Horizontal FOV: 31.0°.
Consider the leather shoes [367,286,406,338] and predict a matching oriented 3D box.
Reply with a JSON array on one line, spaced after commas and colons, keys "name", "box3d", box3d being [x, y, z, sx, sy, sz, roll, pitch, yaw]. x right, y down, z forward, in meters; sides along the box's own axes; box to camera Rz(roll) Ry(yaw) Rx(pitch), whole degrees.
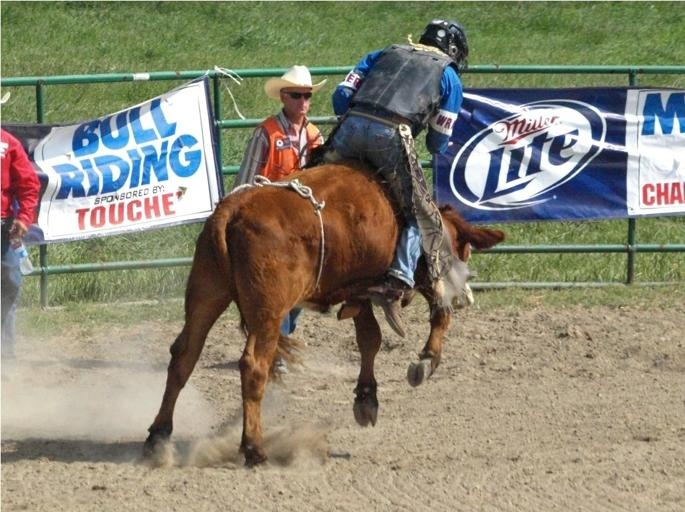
[{"name": "leather shoes", "box3d": [0.445, 0.489, 11.408, 0.195, 0.635, 0.318, -11, 45, 29]}]

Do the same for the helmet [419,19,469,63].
[{"name": "helmet", "box3d": [0.986, -2.083, 11.826, 0.338, 0.478, 0.474, 18, -5, 22]}]

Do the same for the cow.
[{"name": "cow", "box3d": [-0.327, 0.452, 11.038, 2.946, 2.442, 0.694, -7, 15, -31]}]

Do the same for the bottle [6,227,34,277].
[{"name": "bottle", "box3d": [-3.200, 0.014, 12.406, 0.088, 0.442, 0.230, -2, 27, 13]}]
